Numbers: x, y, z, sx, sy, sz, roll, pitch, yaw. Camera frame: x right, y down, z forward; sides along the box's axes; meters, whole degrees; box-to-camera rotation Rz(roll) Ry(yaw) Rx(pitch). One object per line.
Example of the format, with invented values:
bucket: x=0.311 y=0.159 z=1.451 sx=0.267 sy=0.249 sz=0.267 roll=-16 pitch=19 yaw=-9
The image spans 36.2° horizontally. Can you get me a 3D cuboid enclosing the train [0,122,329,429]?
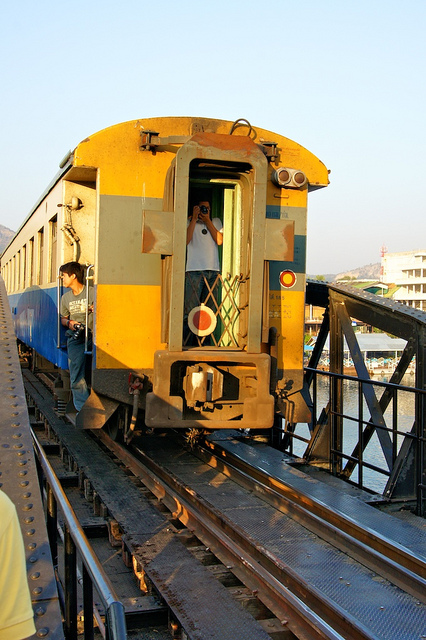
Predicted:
train: x=-0.470 y=-0.476 z=7.125 sx=1.482 sy=2.069 sz=5.746 roll=0 pitch=2 yaw=-12

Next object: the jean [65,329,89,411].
jean: x=-1.492 y=0.539 z=7.099 sx=0.187 sy=0.861 sz=0.456 roll=0 pitch=3 yaw=-31
